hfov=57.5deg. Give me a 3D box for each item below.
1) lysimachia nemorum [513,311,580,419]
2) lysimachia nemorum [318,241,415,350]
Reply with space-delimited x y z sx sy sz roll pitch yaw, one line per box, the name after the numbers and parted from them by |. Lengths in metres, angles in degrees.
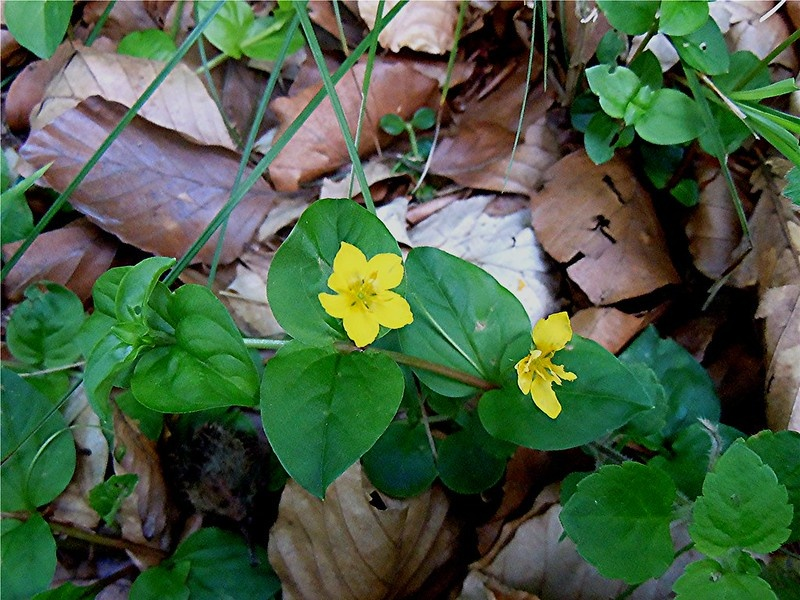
0.481 0.207 2.541 0.203 0.378 0.155 11 -4 -39 | lysimachia nemorum
-0.131 -0.026 2.413 0.321 0.341 0.103 -24 15 23 | lysimachia nemorum
